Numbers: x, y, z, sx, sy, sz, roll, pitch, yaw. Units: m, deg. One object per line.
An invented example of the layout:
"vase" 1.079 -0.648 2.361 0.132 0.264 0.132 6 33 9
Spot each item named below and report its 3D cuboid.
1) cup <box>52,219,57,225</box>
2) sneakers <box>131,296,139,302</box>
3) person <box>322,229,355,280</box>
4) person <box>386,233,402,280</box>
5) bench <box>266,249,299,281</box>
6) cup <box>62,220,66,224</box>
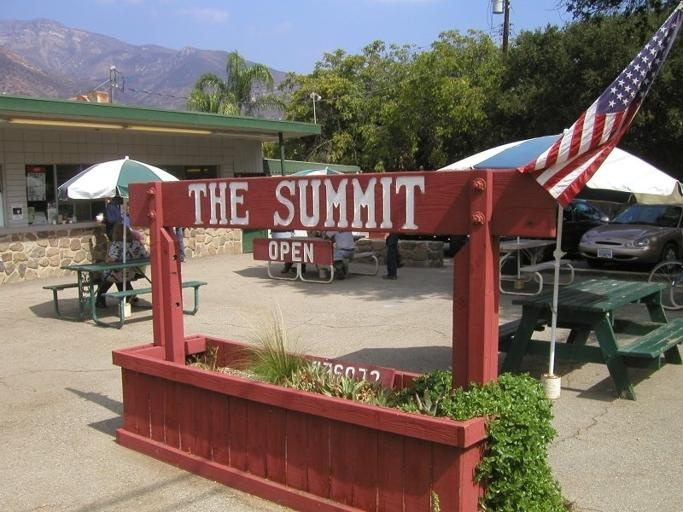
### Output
"cup" -7.345 -0.874 18.007 0.122 0.131 0.066 0 -7 -5
"sneakers" -3.694 0.757 12.603 0.092 0.115 0.124 11 14 -10
"person" -0.038 -0.029 15.116 0.601 1.042 0.835 0 7 6
"person" 1.094 -0.023 15.182 0.256 0.945 0.656 0 6 3
"bench" -1.272 0.275 15.826 0.535 0.414 0.808 2 5 11
"cup" -7.143 -0.869 18.117 0.101 0.075 0.057 2 6 10
